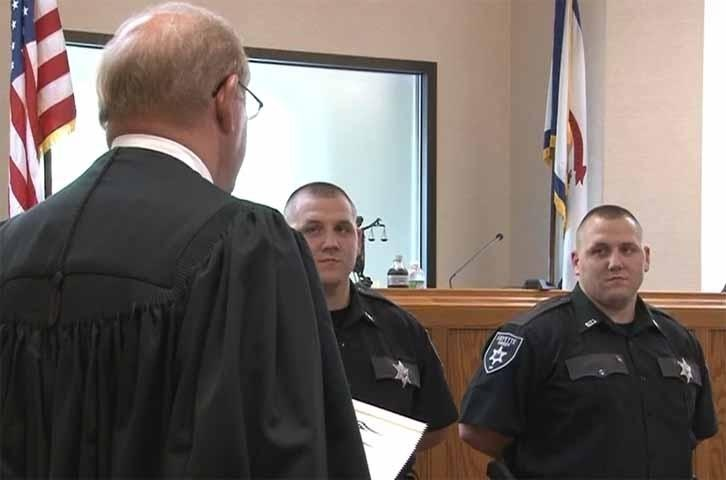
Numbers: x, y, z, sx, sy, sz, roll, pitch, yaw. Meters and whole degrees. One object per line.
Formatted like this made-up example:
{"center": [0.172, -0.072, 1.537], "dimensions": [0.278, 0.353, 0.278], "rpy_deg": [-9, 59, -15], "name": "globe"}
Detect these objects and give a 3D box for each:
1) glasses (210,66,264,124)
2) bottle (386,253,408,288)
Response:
{"center": [-0.307, -0.390, 1.889], "dimensions": [0.035, 0.123, 0.124], "rpy_deg": [-39, -9, -10], "name": "glasses"}
{"center": [0.216, 0.203, 4.499], "dimensions": [0.135, 0.207, 0.140], "rpy_deg": [1, -5, 0], "name": "bottle"}
